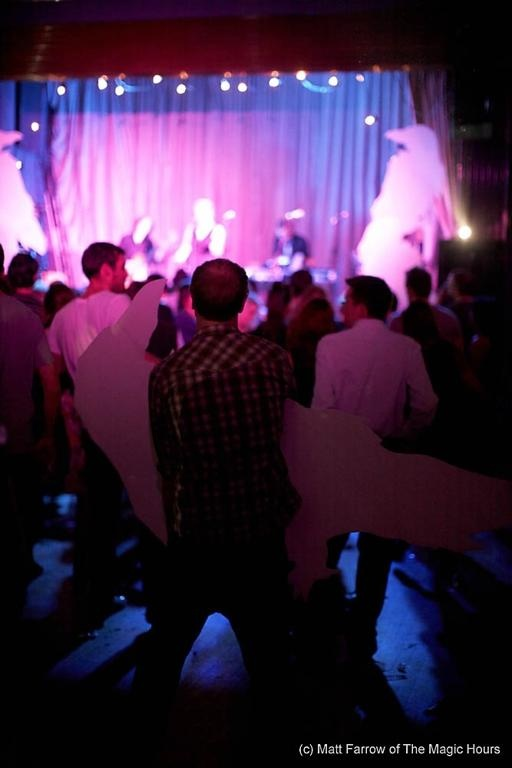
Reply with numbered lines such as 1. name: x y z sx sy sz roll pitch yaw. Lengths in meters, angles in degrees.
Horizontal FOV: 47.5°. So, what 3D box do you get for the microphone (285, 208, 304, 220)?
1. microphone: 0.320 -1.439 4.894 0.133 0.104 0.036 -11 -9 6
